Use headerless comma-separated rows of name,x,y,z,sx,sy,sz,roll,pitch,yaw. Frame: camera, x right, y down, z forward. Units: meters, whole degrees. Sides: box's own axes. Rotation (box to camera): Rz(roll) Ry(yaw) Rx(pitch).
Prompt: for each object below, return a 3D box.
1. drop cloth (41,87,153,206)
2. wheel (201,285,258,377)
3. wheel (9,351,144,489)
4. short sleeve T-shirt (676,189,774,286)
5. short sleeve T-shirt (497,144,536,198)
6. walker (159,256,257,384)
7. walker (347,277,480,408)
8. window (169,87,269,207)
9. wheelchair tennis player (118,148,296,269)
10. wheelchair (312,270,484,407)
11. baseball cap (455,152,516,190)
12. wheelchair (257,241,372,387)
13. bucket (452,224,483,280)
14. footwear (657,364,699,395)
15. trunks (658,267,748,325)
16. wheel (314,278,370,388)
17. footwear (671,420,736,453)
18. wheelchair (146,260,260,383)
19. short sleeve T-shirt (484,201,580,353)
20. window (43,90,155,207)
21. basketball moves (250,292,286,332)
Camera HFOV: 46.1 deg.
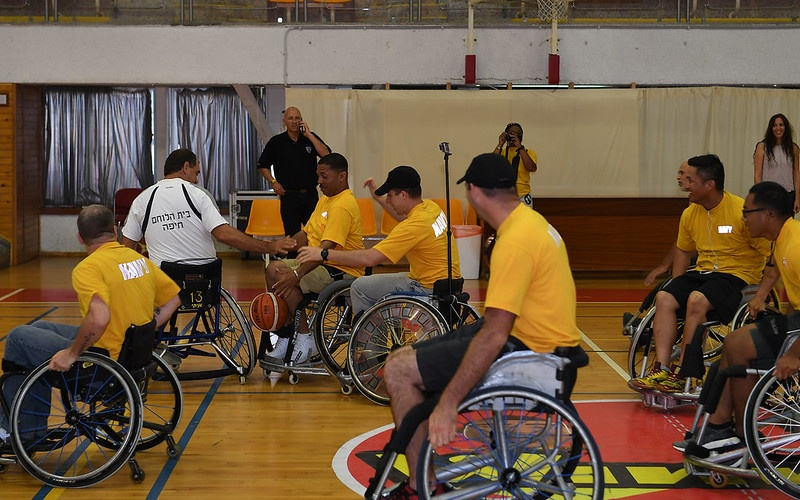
drop cloth,-5.001,-1.743,15.273,2.034,2.411,0.282,1,6,-5
wheel,-1.744,0.876,9.472,0.183,0.819,0.820,-9,26,-22
wheel,-2.587,1.354,7.633,1.150,1.044,0.986,1,-6,-33
short sleeve T-shirt,3.053,-0.104,8.813,0.888,0.852,0.495,3,27,40
short sleeve T-shirt,1.629,-1.091,13.171,0.568,0.800,0.446,4,-21,14
walker,-1.902,0.589,9.494,0.813,1.332,1.363,0,12,-11
walker,0.159,0.852,8.859,1.226,1.249,1.366,5,-7,29
window,-3.159,-1.724,15.665,1.640,2.004,0.214,-2,-17,-39
wheelchair tennis player,-1.938,-0.294,8.984,1.676,1.054,1.013,0,7,11
wheelchair,-0.018,0.820,9.092,1.424,1.365,1.058,0,4,10
baseball cap,0.620,-0.585,6.923,0.245,0.166,0.323,-6,14,-40
wheelchair,-0.675,0.585,9.309,1.177,1.583,1.424,-8,-10,36
bucket,1.029,-0.009,13.448,0.400,0.556,0.403,-11,-1,0
footwear,2.490,1.210,8.387,0.448,0.210,0.187,5,-7,-26
trunks,2.793,0.425,8.516,0.661,0.619,0.415,7,-7,-33
wheel,-0.610,0.533,9.551,0.306,1.373,1.340,-9,-17,-3
footwear,2.387,1.527,7.536,0.566,0.237,0.199,-1,-6,-2
wheelchair,-2.034,0.573,9.195,1.181,1.132,0.713,-11,-6,-29
short sleeve T-shirt,0.963,0.230,6.824,0.700,1.012,0.404,-1,13,0
window,-5.009,-1.723,15.514,1.734,2.069,0.209,-1,-10,-16
basketball moves,-1.211,0.586,9.003,0.342,0.409,0.340,-3,5,6
